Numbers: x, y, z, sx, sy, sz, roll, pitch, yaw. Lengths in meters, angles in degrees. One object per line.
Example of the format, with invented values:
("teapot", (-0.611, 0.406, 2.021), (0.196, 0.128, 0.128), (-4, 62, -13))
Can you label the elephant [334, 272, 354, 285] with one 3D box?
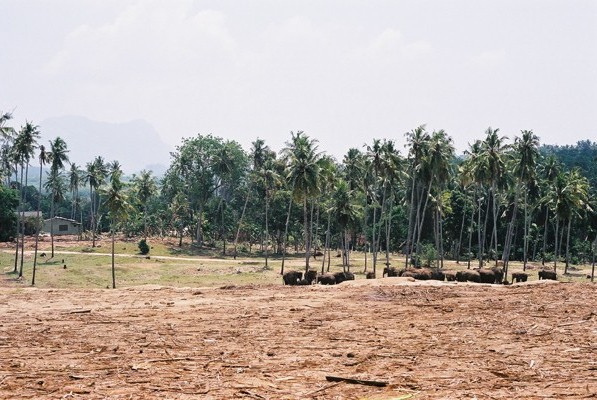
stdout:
("elephant", (4.795, 7.956, 66.856), (1.567, 0.942, 3.189), (5, 13, 24))

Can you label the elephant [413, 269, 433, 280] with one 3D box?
("elephant", (13.428, 7.892, 67.557), (2.695, 1.422, 0.877), (-3, 7, -38))

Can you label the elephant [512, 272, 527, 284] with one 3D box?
("elephant", (24.255, 8.582, 70.009), (1.439, 1.092, 2.357), (4, 13, 18))

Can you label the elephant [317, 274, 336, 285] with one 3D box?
("elephant", (2.994, 8.022, 65.685), (1.760, 0.705, 1.669), (4, 13, 16))

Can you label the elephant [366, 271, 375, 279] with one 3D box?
("elephant", (8.362, 8.512, 73.145), (0.709, 1.103, 1.104), (1, -17, 2))

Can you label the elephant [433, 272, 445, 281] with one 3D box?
("elephant", (15.707, 8.211, 70.096), (1.408, 0.817, 1.225), (-12, 17, -43))

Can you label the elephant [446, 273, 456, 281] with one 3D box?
("elephant", (16.435, 8.222, 68.528), (0.851, 0.584, 1.227), (-10, 16, -39))

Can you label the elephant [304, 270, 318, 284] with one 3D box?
("elephant", (1.479, 8.348, 69.189), (0.956, 1.336, 2.593), (4, 13, 18))

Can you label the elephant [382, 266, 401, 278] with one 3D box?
("elephant", (10.753, 8.291, 73.294), (1.204, 1.529, 2.528), (3, 2, -41))

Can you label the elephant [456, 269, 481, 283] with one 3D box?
("elephant", (18.137, 8.036, 67.964), (2.450, 1.382, 1.141), (3, 0, 15))

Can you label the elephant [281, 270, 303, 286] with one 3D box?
("elephant", (-0.488, 7.923, 65.882), (1.289, 1.382, 2.616), (5, 13, 23))
